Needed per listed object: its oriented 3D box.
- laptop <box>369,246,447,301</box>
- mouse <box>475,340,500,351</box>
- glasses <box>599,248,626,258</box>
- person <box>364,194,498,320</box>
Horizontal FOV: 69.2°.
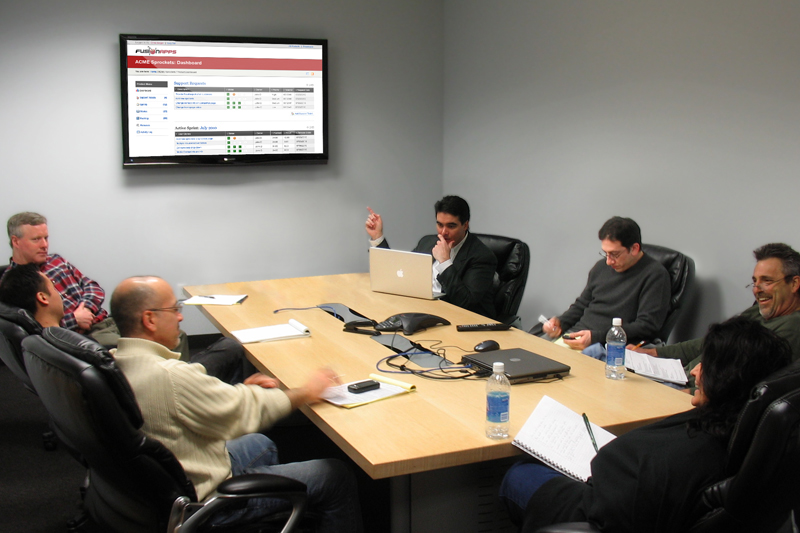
[{"bbox_3d":[0.021,-0.038,3.907,0.485,0.315,0.342,8,15,38],"label":"laptop"},{"bbox_3d":[0.436,0.405,2.961,0.084,0.030,0.060,2,0,-28],"label":"mouse"},{"bbox_3d":[1.415,-0.079,3.782,0.112,0.034,0.109,7,-4,-28],"label":"glasses"},{"bbox_3d":[0.234,-0.078,4.390,0.682,1.408,0.715,-16,-28,35],"label":"person"}]
